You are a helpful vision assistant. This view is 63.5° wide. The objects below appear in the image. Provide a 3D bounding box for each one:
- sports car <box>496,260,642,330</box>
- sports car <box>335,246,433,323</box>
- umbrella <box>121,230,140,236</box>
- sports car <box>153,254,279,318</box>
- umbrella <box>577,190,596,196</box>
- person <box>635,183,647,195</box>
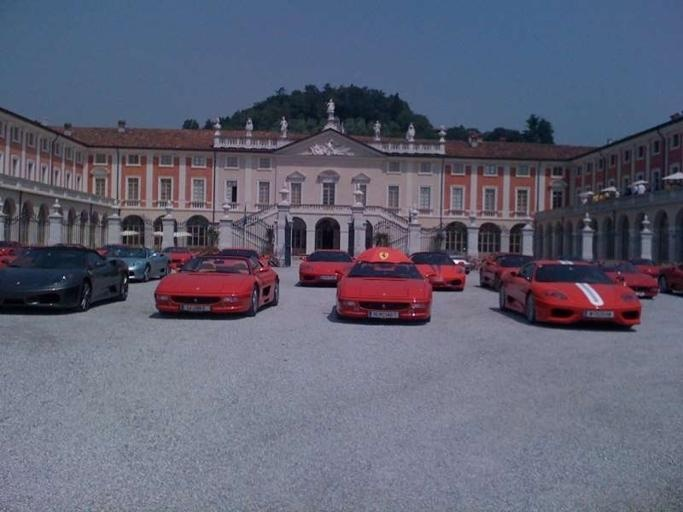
[{"bbox_3d":[5.083,0.800,12.303,2.133,1.290,2.661,1,3,-3],"label":"sports car"},{"bbox_3d":[0.960,0.743,12.230,1.941,1.297,2.389,1,3,6],"label":"sports car"},{"bbox_3d":[-20.496,-2.244,53.786,2.457,0.937,0.617,7,4,44],"label":"umbrella"},{"bbox_3d":[-2.754,0.698,12.628,1.898,1.335,2.789,1,3,10],"label":"sports car"},{"bbox_3d":[23.125,-5.987,52.205,1.472,0.585,1.594,-1,1,21],"label":"umbrella"},{"bbox_3d":[22.678,-5.136,42.040,0.658,1.241,0.332,4,-35,16],"label":"person"}]
